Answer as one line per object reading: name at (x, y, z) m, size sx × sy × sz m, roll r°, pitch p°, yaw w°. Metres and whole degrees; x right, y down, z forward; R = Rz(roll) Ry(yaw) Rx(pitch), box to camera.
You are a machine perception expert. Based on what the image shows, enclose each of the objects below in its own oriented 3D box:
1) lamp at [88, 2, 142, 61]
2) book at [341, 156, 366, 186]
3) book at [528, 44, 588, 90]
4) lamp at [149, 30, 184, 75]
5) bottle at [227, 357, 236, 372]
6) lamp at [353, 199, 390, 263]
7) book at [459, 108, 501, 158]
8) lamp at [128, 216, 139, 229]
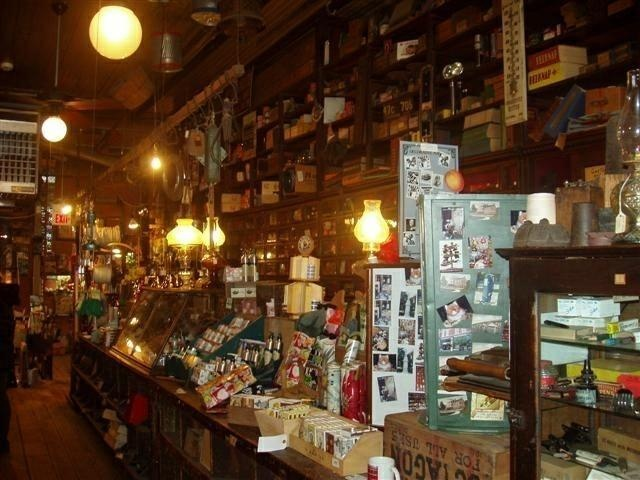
lamp at (-1.483, -1.527, 3.954) m, size 0.331 × 0.434 × 0.250 m, roll 1°, pitch -5°, yaw -24°
book at (0.412, -0.855, 6.920) m, size 0.075 × 0.354 × 0.319 m, roll 10°, pitch -11°, yaw -39°
book at (2.037, -1.497, 4.763) m, size 0.334 × 0.371 × 0.475 m, roll 1°, pitch -4°, yaw -32°
lamp at (-1.446, -1.749, 5.087) m, size 0.337 × 0.418 × 0.354 m, roll -3°, pitch 1°, yaw -3°
bottle at (-0.588, 0.821, 3.617) m, size 0.058 × 0.114 × 0.059 m, roll 2°, pitch 0°, yaw 0°
lamp at (0.302, -0.045, 3.235) m, size 0.245 × 0.362 × 0.256 m, roll 3°, pitch 5°, yaw 25°
book at (1.550, -1.018, 5.345) m, size 0.176 × 0.448 × 0.494 m, roll 2°, pitch -5°, yaw -31°
lamp at (-4.194, -0.383, 12.279) m, size 0.192 × 0.324 × 0.303 m, roll 8°, pitch -15°, yaw -10°
